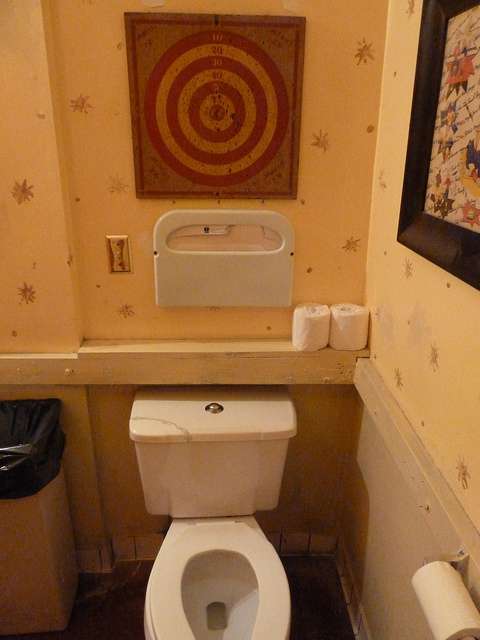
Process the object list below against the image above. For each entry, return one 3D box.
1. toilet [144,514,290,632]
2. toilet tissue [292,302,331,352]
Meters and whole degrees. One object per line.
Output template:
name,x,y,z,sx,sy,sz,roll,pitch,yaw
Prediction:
toilet,-0.055,0.666,1.277,0.333,0.193,0.367,1,29,-2
toilet tissue,0.191,0.014,1.358,0.086,0.107,0.089,-14,31,-27
